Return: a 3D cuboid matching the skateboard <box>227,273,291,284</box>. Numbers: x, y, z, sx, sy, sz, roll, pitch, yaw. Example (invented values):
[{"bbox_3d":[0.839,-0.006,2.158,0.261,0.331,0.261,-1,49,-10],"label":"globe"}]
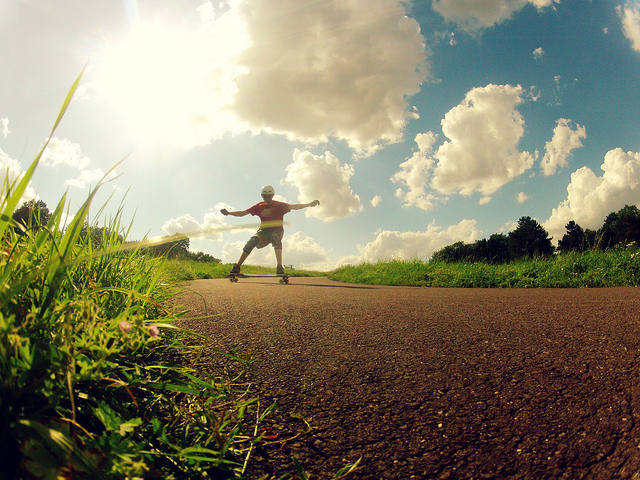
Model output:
[{"bbox_3d":[-1.648,1.033,10.616,1.740,0.280,0.430,0,0,-4],"label":"skateboard"}]
